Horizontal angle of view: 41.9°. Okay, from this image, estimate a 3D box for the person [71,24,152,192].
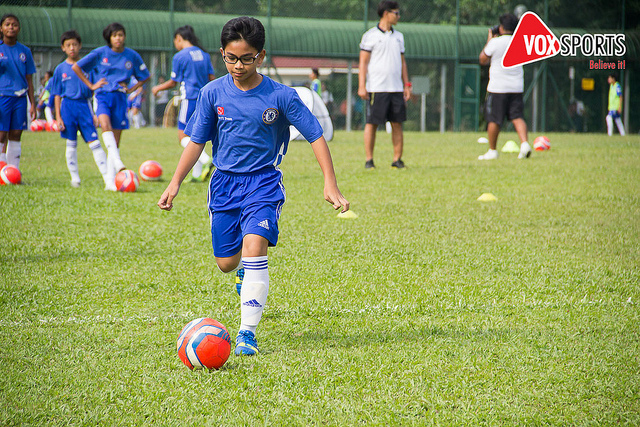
[{"bbox_3d":[-2.755,-1.434,11.148,0.946,2.172,0.519,-4,11,-14],"label":"person"}]

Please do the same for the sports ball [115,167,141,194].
[{"bbox_3d":[-2.546,-0.446,11.078,0.333,0.301,0.419,-4,13,-15],"label":"sports ball"}]

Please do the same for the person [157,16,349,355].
[{"bbox_3d":[-0.573,-0.279,6.665,1.327,2.534,0.729,-1,11,0],"label":"person"}]

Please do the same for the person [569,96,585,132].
[{"bbox_3d":[7.099,-2.788,23.211,0.371,0.923,1.160,2,12,17],"label":"person"}]

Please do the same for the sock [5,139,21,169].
[{"bbox_3d":[-4.216,-0.847,11.502,0.188,0.363,0.264,-6,13,-26],"label":"sock"}]

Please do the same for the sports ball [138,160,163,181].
[{"bbox_3d":[-2.397,-0.630,11.875,0.270,0.297,0.276,-1,11,0],"label":"sports ball"}]

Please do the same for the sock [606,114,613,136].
[{"bbox_3d":[7.480,-2.333,21.619,0.133,0.561,0.632,2,12,18],"label":"sock"}]

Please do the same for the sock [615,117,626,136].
[{"bbox_3d":[7.755,-2.307,21.624,0.276,0.493,0.860,3,13,20],"label":"sock"}]

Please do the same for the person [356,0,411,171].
[{"bbox_3d":[0.976,-1.945,12.607,0.794,2.544,0.714,-1,11,1],"label":"person"}]

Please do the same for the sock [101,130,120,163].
[{"bbox_3d":[-2.805,-0.922,11.224,0.200,0.438,0.178,-4,11,-14],"label":"sock"}]

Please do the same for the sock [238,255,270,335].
[{"bbox_3d":[-0.526,0.647,6.589,0.239,0.634,0.218,-2,11,-7],"label":"sock"}]

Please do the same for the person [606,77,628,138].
[{"bbox_3d":[7.563,-2.767,21.336,0.488,1.504,0.779,3,12,20],"label":"person"}]

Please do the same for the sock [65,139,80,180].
[{"bbox_3d":[-3.382,-0.766,11.411,0.146,0.554,0.438,-4,12,-16],"label":"sock"}]
